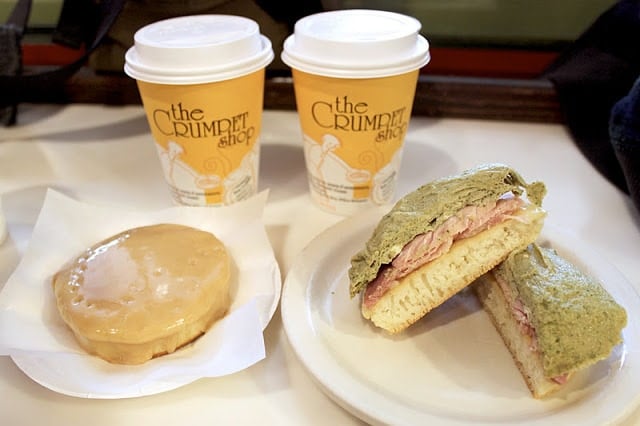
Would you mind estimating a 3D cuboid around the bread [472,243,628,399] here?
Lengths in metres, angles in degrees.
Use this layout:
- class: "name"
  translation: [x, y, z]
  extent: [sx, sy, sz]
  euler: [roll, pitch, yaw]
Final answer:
- class: "bread"
  translation: [0.441, 0.200, 1.018]
  extent: [0.214, 0.138, 0.258]
  euler: [-18, 58, -15]

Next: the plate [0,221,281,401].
- class: "plate"
  translation: [-0.321, 0.201, 0.906]
  extent: [0.393, 0.098, 0.375]
  euler: [0, 50, 4]

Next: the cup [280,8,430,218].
- class: "cup"
  translation: [0.074, -0.276, 1.331]
  extent: [0.412, 0.506, 0.398]
  euler: [0, 36, 0]
